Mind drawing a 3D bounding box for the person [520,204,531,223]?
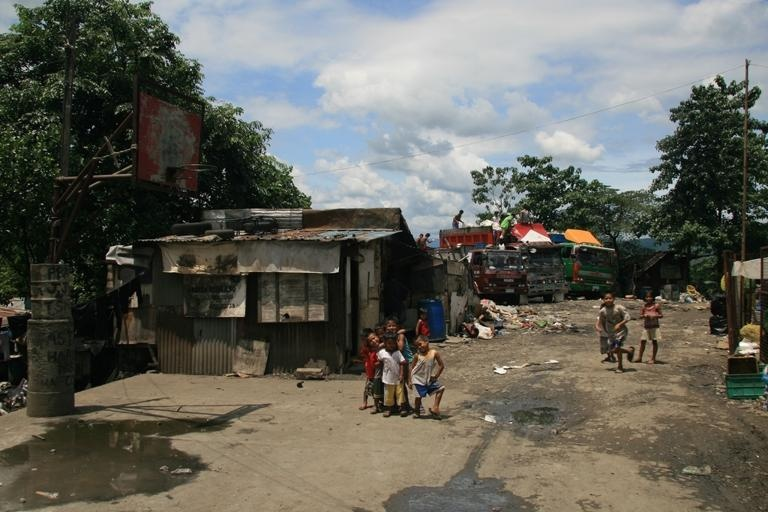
[{"bbox_3d":[6.418,-1.884,34.253,0.506,0.925,0.865,-1,-6,10],"label":"person"}]

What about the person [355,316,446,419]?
[{"bbox_3d":[0.565,2.833,18.510,1.670,2.277,1.105,0,-6,-2],"label":"person"}]

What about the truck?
[{"bbox_3d":[5.970,0.517,34.341,4.658,2.584,5.918,0,-3,-23],"label":"truck"}]
